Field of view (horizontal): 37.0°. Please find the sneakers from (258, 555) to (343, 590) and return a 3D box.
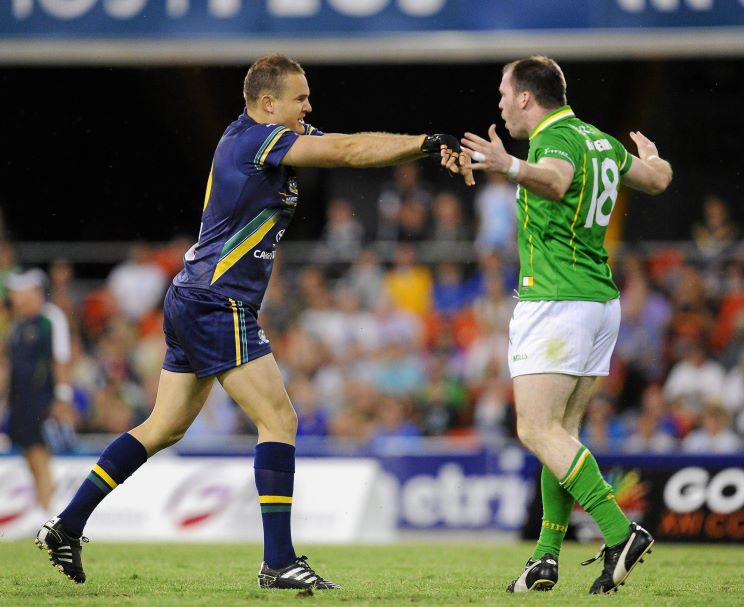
[{"bbox_3d":[-0.397,1.569,6.519,0.508,0.260,0.186,3,-3,0],"label":"sneakers"}]
